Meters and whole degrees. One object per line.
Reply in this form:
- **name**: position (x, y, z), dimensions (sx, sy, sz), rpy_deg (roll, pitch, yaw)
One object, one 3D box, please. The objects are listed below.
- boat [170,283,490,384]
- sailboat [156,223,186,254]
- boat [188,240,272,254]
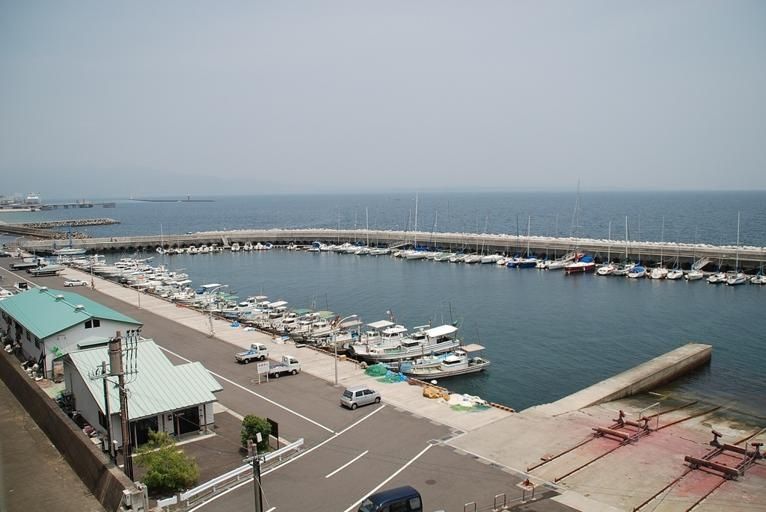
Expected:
- **boat**: position (-10.016, 6.580, 65.714), dimensions (17.914, 4.415, 50.691), rpy_deg (-8, 8, -43)
- **sailboat**: position (-43.599, -2.442, 122.481), dimensions (4.994, 3.594, 6.551), rpy_deg (-5, 6, -18)
- **boat**: position (-31.365, -1.778, 124.397), dimensions (16.732, 1.635, 6.782), rpy_deg (-4, 6, -17)
